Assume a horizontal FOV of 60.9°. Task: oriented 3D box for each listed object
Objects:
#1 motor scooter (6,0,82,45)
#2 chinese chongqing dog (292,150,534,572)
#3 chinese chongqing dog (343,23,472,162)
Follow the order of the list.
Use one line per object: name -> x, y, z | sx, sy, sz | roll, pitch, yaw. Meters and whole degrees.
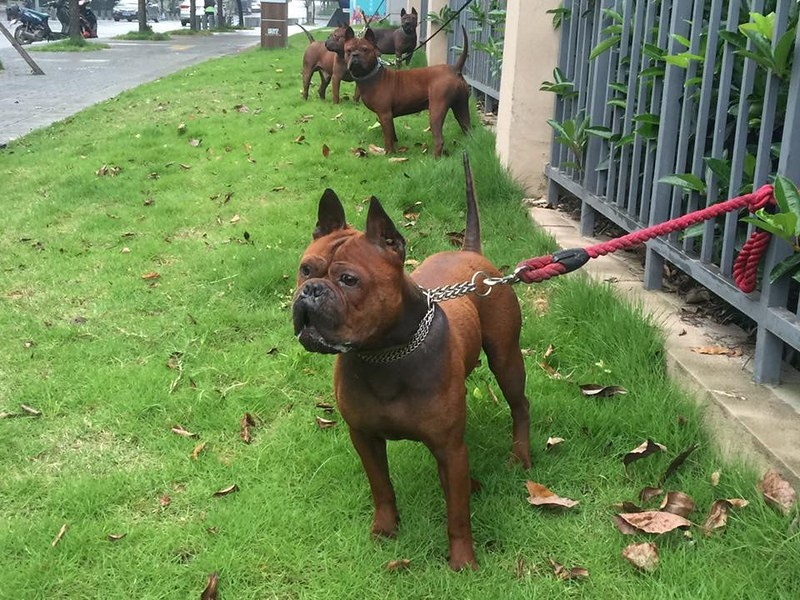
motor scooter -> -14.750, -11.192, 27.586 | 1.747, 1.457, 4.485 | 1, 24, 11
chinese chongqing dog -> 0.155, 0.239, 3.416 | 0.624, 1.882, 2.080 | 1, 11, 26
chinese chongqing dog -> 0.107, -2.555, 8.415 | 1.735, 1.466, 0.534 | 8, 21, 24
